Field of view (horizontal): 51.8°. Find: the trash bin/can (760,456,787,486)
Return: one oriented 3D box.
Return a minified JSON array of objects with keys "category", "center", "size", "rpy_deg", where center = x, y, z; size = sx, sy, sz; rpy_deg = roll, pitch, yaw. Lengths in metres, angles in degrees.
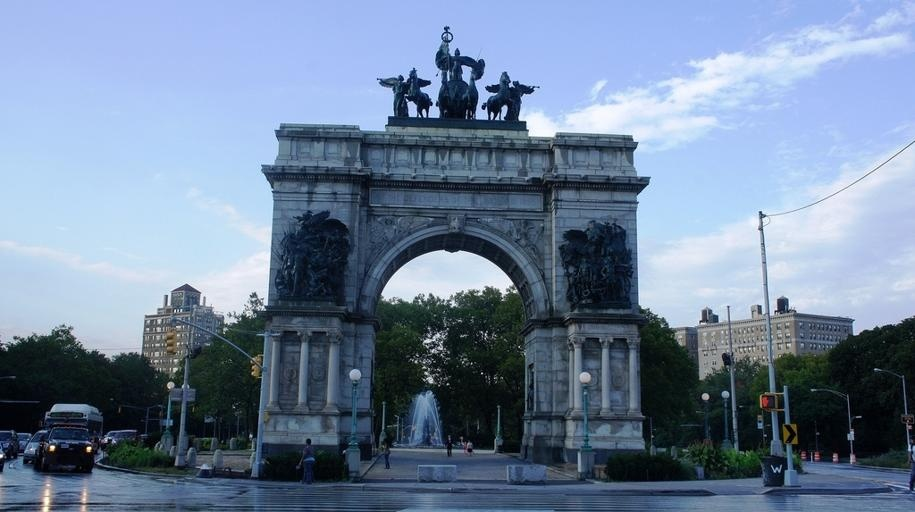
[{"category":"trash bin/can","center":[25.563,17.596,76.390],"size":[2.718,2.698,2.095],"rpy_deg":[0,-22,5]}]
